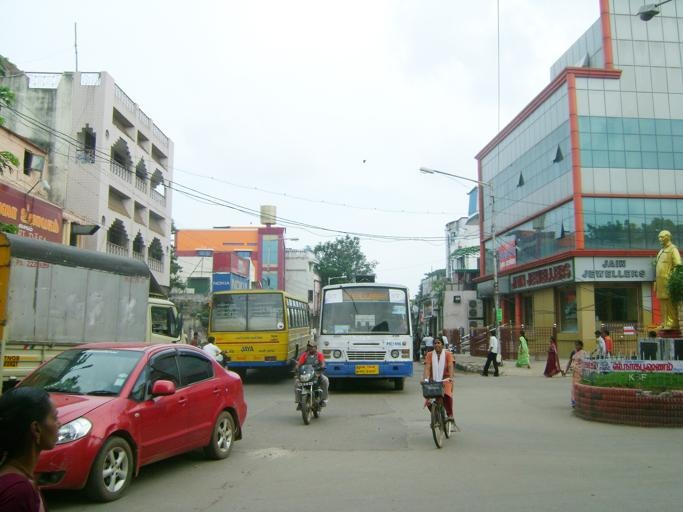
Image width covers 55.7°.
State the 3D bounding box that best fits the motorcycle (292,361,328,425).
[{"bbox_3d":[-0.723,2.933,13.948,0.512,1.173,1.192,-1,-4,11],"label":"motorcycle"}]

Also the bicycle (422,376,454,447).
[{"bbox_3d":[1.690,2.772,11.581,0.448,1.106,1.170,-1,-4,12],"label":"bicycle"}]

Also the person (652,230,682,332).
[{"bbox_3d":[8.833,0.629,17.461,0.629,2.693,1.320,-2,-4,27],"label":"person"}]

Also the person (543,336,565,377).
[{"bbox_3d":[8.216,3.895,25.189,0.620,1.500,2.810,-1,-5,19],"label":"person"}]
